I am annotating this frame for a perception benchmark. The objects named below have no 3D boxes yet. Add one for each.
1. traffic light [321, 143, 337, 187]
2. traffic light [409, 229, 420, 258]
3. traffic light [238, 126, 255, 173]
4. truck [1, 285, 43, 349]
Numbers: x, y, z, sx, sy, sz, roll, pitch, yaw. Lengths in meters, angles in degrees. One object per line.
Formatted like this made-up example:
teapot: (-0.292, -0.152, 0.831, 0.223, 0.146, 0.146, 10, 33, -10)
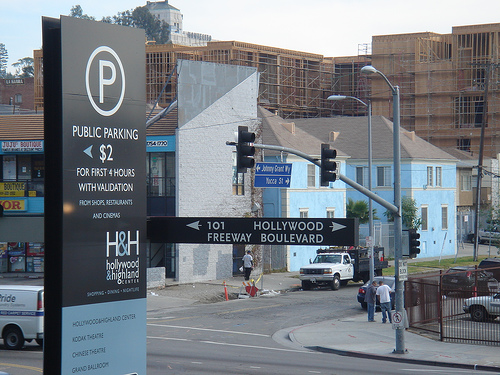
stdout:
traffic light: (3.552, -1.115, 49.360, 0.696, 1.824, 1.214, -2, -2, 4)
traffic light: (7.979, 2.736, 52.778, 0.484, 1.295, 1.153, -2, -3, 8)
traffic light: (-0.227, -1.654, 47.232, 0.678, 2.054, 0.730, -5, 11, -43)
truck: (-10.797, 6.092, 50.963, 2.175, 2.888, 0.415, -2, -2, 18)
